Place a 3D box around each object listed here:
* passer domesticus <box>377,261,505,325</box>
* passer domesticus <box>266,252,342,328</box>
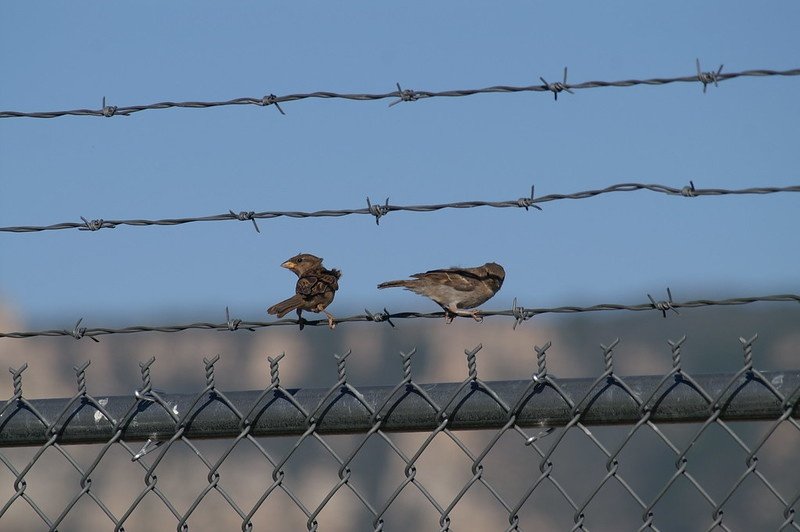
[{"bbox_3d":[0.307,0.218,15.968,1.381,0.727,0.496,2,-24,0],"label":"passer domesticus"},{"bbox_3d":[-0.866,0.212,16.007,0.596,1.011,0.358,-1,-46,1],"label":"passer domesticus"}]
